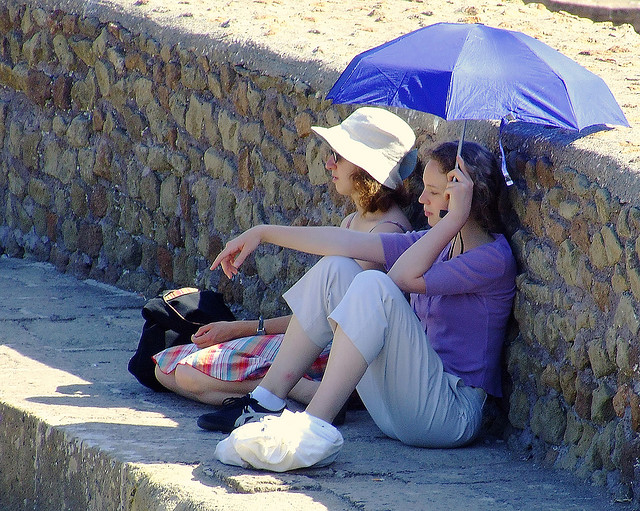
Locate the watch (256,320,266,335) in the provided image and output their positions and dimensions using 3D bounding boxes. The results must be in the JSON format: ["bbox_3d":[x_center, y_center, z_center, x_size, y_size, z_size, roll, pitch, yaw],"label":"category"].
[{"bbox_3d":[-0.268,0.326,5.272,0.037,0.063,0.027,-1,-6,24],"label":"watch"}]

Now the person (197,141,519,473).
[{"bbox_3d":[0.199,0.188,4.835,1.211,1.393,0.718,5,0,-22],"label":"person"}]

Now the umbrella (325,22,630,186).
[{"bbox_3d":[0.639,-0.635,5.269,1.274,0.852,1.294,-1,16,-19],"label":"umbrella"}]

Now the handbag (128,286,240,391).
[{"bbox_3d":[-0.648,0.461,5.569,0.465,0.284,0.590,-40,-22,26],"label":"handbag"}]

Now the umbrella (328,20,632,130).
[{"bbox_3d":[0.669,-0.761,4.879,1.230,0.383,0.586,4,12,11],"label":"umbrella"}]

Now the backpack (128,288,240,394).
[{"bbox_3d":[-0.660,0.330,5.320,0.464,0.197,0.475,-34,21,-9],"label":"backpack"}]
